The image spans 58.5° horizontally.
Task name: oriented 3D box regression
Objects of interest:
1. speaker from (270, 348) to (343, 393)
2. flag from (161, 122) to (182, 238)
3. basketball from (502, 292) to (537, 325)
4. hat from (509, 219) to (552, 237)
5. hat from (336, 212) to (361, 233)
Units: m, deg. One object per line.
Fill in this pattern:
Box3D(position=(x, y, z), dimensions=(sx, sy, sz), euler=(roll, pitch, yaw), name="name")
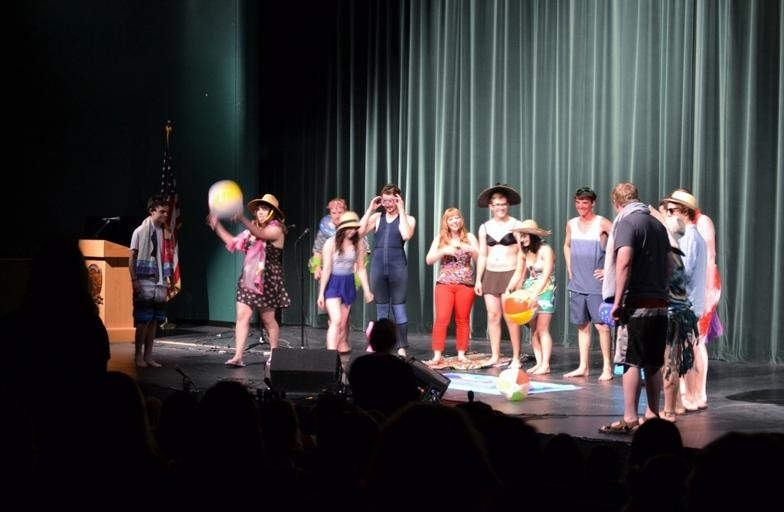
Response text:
Box3D(position=(-0.730, 0.955, 5.779), dimensions=(0.637, 0.404, 0.433), euler=(2, -33, 2), name="speaker")
Box3D(position=(-3.631, -1.233, 11.492), dimensions=(0.358, 2.084, 0.307), euler=(-7, 36, -20), name="flag")
Box3D(position=(1.353, 0.532, 7.299), dimensions=(0.313, 0.363, 0.322), euler=(3, 5, -22), name="basketball")
Box3D(position=(1.535, -0.273, 7.593), dimensions=(0.262, 0.127, 0.324), euler=(-2, -13, 39), name="hat")
Box3D(position=(-0.468, -0.401, 7.490), dimensions=(0.214, 0.146, 0.254), euler=(-7, -9, -14), name="hat")
